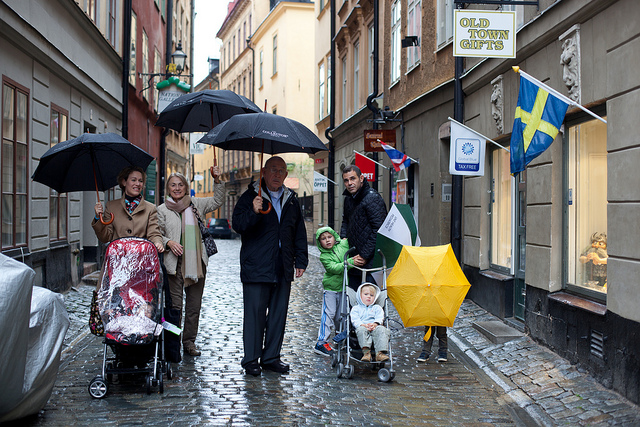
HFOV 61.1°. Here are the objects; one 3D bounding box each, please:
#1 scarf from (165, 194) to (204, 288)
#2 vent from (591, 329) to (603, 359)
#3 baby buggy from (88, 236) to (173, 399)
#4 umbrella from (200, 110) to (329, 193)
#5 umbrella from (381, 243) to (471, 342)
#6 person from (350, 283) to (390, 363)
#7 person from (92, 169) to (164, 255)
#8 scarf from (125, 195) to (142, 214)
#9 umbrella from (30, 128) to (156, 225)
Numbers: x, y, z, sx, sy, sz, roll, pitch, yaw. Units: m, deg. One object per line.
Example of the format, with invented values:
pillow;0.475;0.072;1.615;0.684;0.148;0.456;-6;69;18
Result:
scarf;-1.910;0.380;7.663;0.508;1.289;0.290;1;-3;-14
vent;3.430;1.615;6.737;0.076;0.306;0.345;0;-3;8
baby buggy;-2.276;1.223;6.616;0.756;1.857;0.993;1;1;-11
umbrella;-0.731;-0.833;7.229;1.415;0.963;1.466;3;-2;-15
umbrella;1.373;0.950;7.061;1.041;1.058;0.391;0;-3;6
person;0.630;1.392;6.963;0.462;0.937;0.366;1;-3;-7
person;-2.444;0.127;6.907;0.788;1.485;0.720;4;-7;-23
scarf;-2.426;-0.114;6.992;0.123;0.195;0.096;1;-42;-1
umbrella;-2.852;-0.468;6.850;1.283;1.185;1.304;-25;-19;5
